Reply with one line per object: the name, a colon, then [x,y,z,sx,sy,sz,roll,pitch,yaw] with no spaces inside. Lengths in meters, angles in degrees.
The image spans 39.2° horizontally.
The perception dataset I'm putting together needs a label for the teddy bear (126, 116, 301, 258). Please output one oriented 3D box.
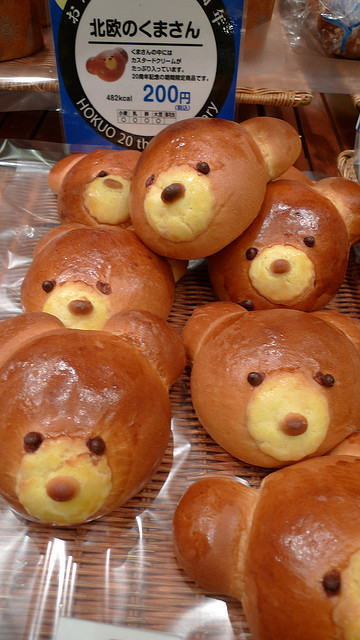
teddy bear: [0.061,-0.175,0.748,0.240,0.119,0.180,-35,55,-24]
